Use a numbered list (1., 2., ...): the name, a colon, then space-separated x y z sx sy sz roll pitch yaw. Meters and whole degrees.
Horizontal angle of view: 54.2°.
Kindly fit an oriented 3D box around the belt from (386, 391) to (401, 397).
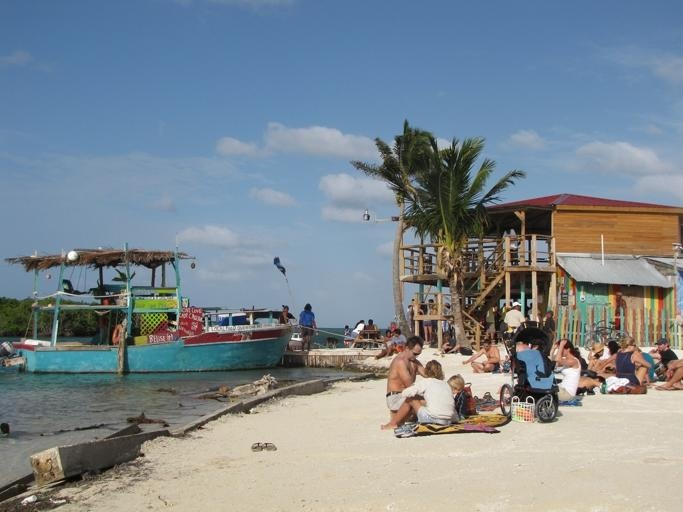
1. belt: 1.069 2.838 13.694 0.341 0.111 0.133 -8 -11 43

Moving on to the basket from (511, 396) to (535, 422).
1. basket: 3.722 3.164 13.661 0.333 0.499 0.523 1 1 30

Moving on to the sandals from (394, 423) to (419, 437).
1. sandals: 1.264 3.390 12.948 0.347 0.140 0.248 -17 19 6

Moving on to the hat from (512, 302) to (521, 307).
1. hat: 6.645 1.846 25.216 0.412 0.129 0.424 -2 0 -38

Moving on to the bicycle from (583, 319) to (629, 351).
1. bicycle: 9.796 2.834 24.895 1.422 0.941 0.744 -4 -8 20
